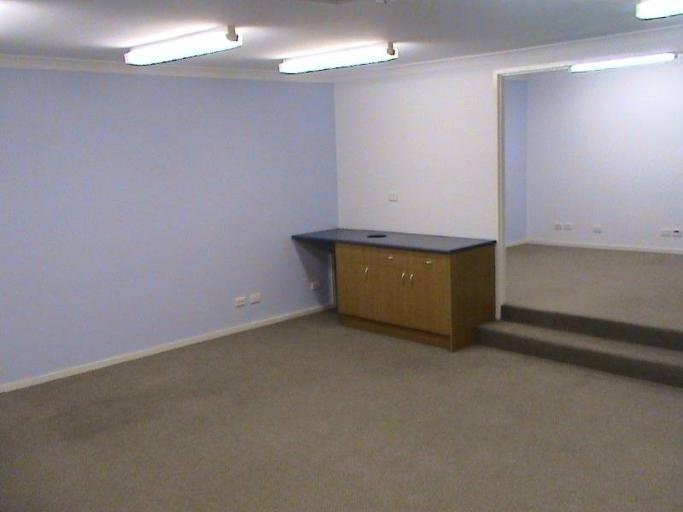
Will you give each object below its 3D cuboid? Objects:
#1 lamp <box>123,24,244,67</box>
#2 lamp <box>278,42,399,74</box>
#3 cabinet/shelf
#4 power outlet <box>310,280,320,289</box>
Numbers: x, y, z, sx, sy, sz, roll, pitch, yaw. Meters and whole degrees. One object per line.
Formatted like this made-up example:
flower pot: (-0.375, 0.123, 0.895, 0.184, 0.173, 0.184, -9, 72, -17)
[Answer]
lamp: (-1.314, -1.726, 4.159, 1.156, 0.177, 0.256, 7, 17, 32)
lamp: (-0.039, -1.906, 4.936, 1.289, 0.191, 0.226, 3, 13, 27)
cabinet/shelf: (0.795, 0.366, 5.736, 1.723, 1.102, 0.657, 5, 16, 28)
power outlet: (-0.360, 0.373, 6.783, 0.037, 0.105, 0.116, -5, -6, 42)
